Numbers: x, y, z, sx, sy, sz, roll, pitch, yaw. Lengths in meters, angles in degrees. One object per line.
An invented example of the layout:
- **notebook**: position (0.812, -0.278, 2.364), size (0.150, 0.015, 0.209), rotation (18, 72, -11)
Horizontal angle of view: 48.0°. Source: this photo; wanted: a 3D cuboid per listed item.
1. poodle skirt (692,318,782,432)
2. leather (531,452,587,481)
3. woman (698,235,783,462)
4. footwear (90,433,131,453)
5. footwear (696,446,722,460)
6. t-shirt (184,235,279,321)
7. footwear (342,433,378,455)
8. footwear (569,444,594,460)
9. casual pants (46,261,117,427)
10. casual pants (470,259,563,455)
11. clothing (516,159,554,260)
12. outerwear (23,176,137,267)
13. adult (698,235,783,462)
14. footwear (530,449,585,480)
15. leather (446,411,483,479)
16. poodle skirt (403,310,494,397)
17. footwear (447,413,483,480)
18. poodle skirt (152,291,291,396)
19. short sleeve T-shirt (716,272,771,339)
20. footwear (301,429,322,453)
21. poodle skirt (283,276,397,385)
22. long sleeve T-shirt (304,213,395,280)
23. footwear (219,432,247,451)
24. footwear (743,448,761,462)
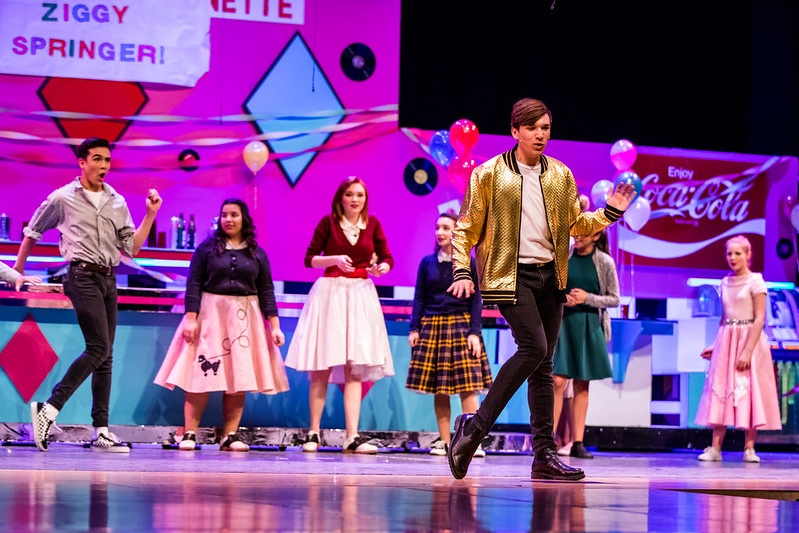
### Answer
- **poodle skirt**: position (2.632, 0.817, 7.035), size (0.621, 0.872, 0.616), rotation (-2, 9, 8)
- **leather**: position (0.870, 1.088, 4.815), size (0.294, 0.146, 0.129), rotation (-4, -8, 22)
- **woman**: position (2.555, 0.627, 6.899), size (0.612, 1.745, 0.553), rotation (-4, -12, 21)
- **footwear**: position (-1.926, 1.207, 6.084), size (0.335, 0.143, 0.124), rotation (1, -5, 7)
- **footwear**: position (2.341, 1.429, 6.789), size (0.196, 0.088, 0.091), rotation (10, -14, -39)
- **t-shirt**: position (-1.216, 0.089, 6.598), size (0.691, 0.645, 0.348), rotation (6, -12, -15)
- **footwear**: position (-0.279, 1.309, 6.494), size (0.253, 0.107, 0.117), rotation (-3, -10, 23)
- **footwear**: position (1.364, 1.384, 6.673), size (0.077, 0.096, 0.227), rotation (4, -13, -25)
- **casual pants**: position (-2.090, 0.548, 6.064), size (0.330, 1.073, 0.471), rotation (-2, -11, 14)
- **casual pants**: position (0.685, 0.496, 4.833), size (0.490, 0.997, 0.320), rotation (8, -13, -31)
- **clothing**: position (0.752, -0.259, 4.906), size (0.234, 0.588, 0.234), rotation (2, -9, -22)
- **outerwear**: position (-2.133, -0.306, 6.131), size (0.741, 0.613, 0.330), rotation (4, -5, -33)
- **adult**: position (2.550, 0.627, 6.901), size (0.609, 1.745, 0.547), rotation (-4, -12, 22)
- **footwear**: position (0.857, 1.088, 4.871), size (0.308, 0.178, 0.134), rotation (-4, -8, 24)
- **leather**: position (0.367, 0.958, 4.787), size (0.176, 0.390, 0.134), rotation (-11, -29, 33)
- **poodle skirt**: position (0.290, 0.734, 6.781), size (0.788, 0.782, 0.556), rotation (3, -15, -2)
- **footwear**: position (0.366, 0.965, 4.806), size (0.168, 0.388, 0.135), rotation (-10, -30, 31)
- **poodle skirt**: position (-1.280, 0.571, 6.614), size (0.510, 0.806, 0.869), rotation (-10, -8, 40)
- **short sleeve T-shirt**: position (2.648, 0.194, 6.957), size (0.377, 0.274, 0.425), rotation (-3, 5, 5)
- **footwear**: position (-0.642, 1.291, 6.578), size (0.132, 0.147, 0.355), rotation (0, -13, 5)
- **poodle skirt**: position (-0.420, 0.578, 6.775), size (0.916, 0.905, 0.704), rotation (8, -16, -21)
- **long sleeve T-shirt**: position (-0.405, -0.143, 6.706), size (0.530, 0.408, 0.238), rotation (4, -16, -19)
- **footwear**: position (-1.192, 1.286, 6.484), size (0.106, 0.093, 0.221), rotation (8, -14, -38)
- **footwear**: position (2.653, 1.447, 6.767), size (0.067, 0.059, 0.151), rotation (-3, -14, 5)
